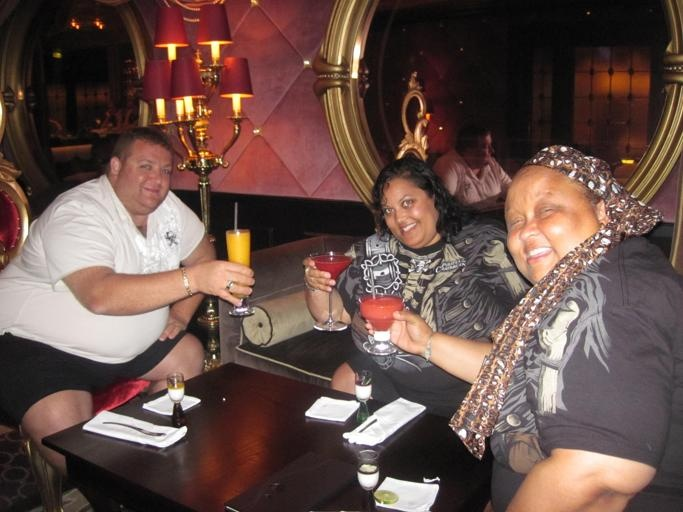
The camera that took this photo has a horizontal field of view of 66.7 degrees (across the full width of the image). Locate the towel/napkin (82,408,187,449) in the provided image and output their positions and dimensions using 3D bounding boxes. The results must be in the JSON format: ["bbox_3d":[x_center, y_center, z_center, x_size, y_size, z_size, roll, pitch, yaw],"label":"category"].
[{"bbox_3d":[-0.699,0.583,1.740,0.246,0.041,0.135,8,11,18],"label":"towel/napkin"}]

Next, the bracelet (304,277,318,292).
[{"bbox_3d":[-0.162,0.127,2.420,0.066,0.020,0.073,15,40,-49],"label":"bracelet"}]

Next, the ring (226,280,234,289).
[{"bbox_3d":[-0.435,0.112,2.021,0.009,0.028,0.029,22,-4,0],"label":"ring"}]

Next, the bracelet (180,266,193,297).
[{"bbox_3d":[-0.623,0.103,2.079,0.025,0.084,0.084,-21,-3,-15],"label":"bracelet"}]

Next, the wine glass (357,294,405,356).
[{"bbox_3d":[0.138,0.255,1.913,0.226,0.252,0.220,0,3,-2],"label":"wine glass"}]
